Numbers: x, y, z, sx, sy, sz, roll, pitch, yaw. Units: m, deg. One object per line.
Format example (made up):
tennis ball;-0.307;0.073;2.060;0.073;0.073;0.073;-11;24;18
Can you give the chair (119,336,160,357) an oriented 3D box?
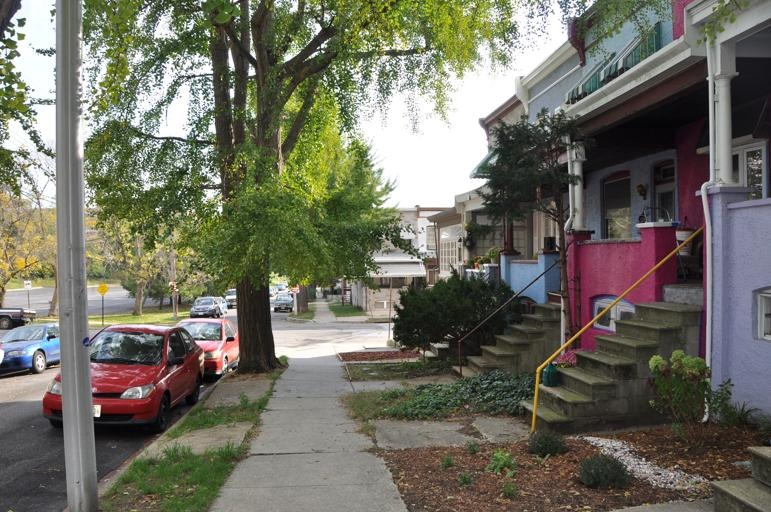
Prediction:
chair;-5.689;2.067;15.844;0.641;0.276;0.503;-1;9;-24

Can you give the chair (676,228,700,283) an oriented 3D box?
chair;6.788;-0.021;15.279;0.508;1.072;1.598;0;6;25

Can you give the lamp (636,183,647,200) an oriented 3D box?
lamp;6.760;-1.695;18.114;0.187;0.403;0.339;-4;6;-14

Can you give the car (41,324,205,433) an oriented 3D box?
car;-5.628;2.803;15.562;1.789;2.169;3.303;-3;6;2
